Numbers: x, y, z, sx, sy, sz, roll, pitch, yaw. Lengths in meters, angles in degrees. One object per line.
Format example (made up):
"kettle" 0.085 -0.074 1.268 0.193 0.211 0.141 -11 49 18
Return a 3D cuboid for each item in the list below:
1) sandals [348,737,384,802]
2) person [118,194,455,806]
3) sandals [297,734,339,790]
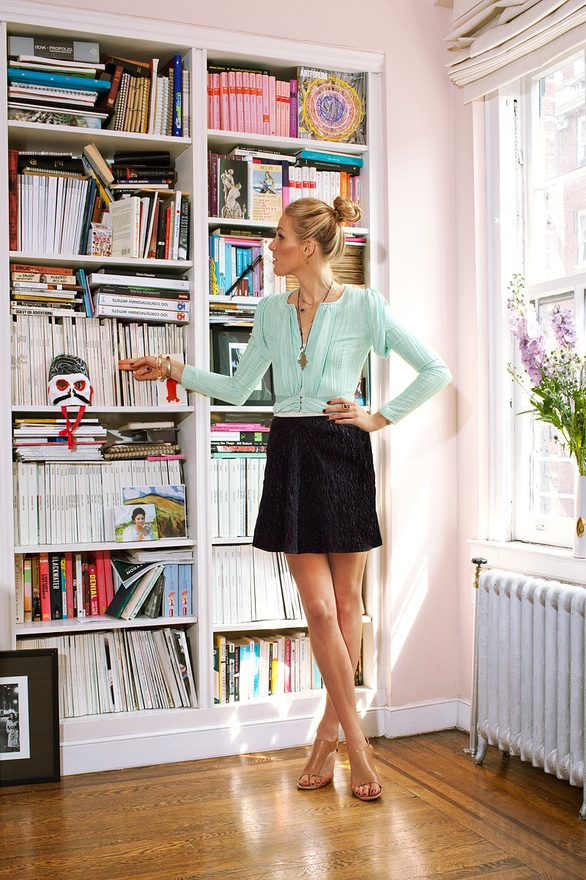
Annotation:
"sandals" 0.196 0.913 2.065 0.060 0.079 0.191 -2 -8 -1
"person" 0.049 0.154 2.264 0.833 1.694 0.324 -1 -5 12
"sandals" 0.076 0.947 2.214 0.061 0.127 0.181 -1 -17 16
